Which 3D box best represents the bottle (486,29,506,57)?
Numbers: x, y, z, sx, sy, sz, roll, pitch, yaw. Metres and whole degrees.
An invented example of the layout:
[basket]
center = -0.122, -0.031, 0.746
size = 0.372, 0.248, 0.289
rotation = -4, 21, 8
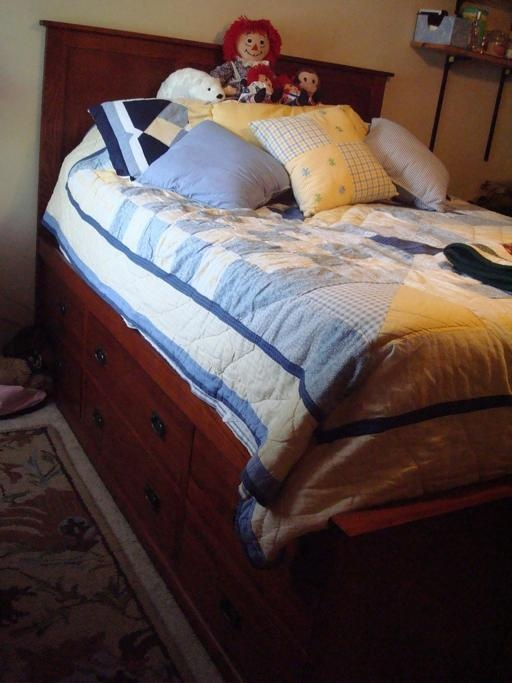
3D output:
[bottle]
center = 1.251, -1.535, 2.839
size = 0.108, 0.144, 0.039
rotation = 7, 2, 3
